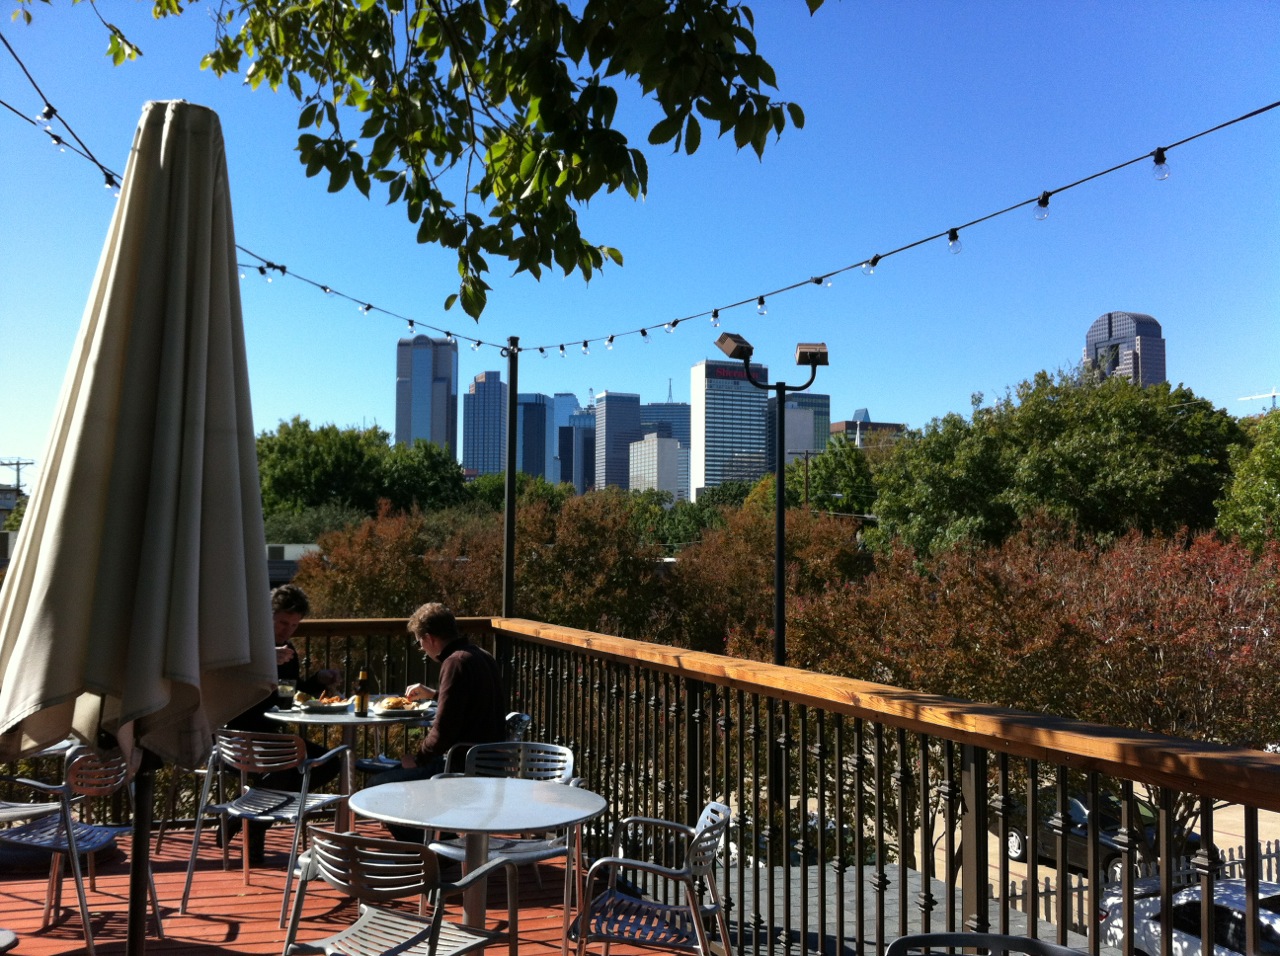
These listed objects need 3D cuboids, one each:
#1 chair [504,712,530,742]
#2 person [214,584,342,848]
[{"bbox_3d":[-0.770,1.573,7.536,0.169,0.254,0.230,0,5,-5],"label":"chair"},{"bbox_3d":[-2.367,1.615,7.771,0.771,1.668,0.687,-1,-7,22],"label":"person"}]
